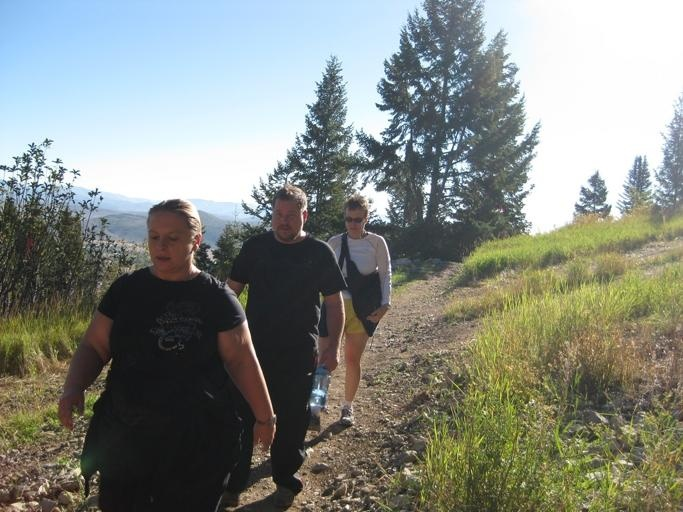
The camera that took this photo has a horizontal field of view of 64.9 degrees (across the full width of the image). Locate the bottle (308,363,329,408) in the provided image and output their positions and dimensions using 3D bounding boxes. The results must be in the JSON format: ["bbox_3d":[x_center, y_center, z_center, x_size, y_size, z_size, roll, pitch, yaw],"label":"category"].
[{"bbox_3d":[-0.204,1.256,5.058,0.142,0.420,0.227,-4,-3,25],"label":"bottle"}]
